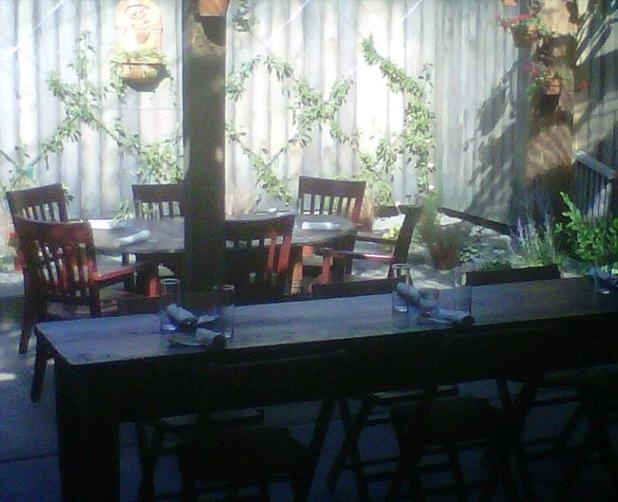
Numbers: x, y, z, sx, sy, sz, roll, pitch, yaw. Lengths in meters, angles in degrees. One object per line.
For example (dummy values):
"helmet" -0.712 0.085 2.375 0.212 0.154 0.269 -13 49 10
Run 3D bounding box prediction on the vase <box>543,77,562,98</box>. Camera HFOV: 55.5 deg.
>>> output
"vase" 2.251 -1.517 5.422 0.143 0.161 0.150 -6 15 -23

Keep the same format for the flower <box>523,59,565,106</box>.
"flower" 2.194 -1.577 5.510 0.342 0.221 0.379 -3 0 -22

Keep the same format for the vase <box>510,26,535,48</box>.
"vase" 2.039 -2.029 5.582 0.146 0.130 0.142 -5 16 -12

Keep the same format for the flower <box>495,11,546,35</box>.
"flower" 2.054 -2.172 5.605 0.336 0.209 0.256 0 10 -4
